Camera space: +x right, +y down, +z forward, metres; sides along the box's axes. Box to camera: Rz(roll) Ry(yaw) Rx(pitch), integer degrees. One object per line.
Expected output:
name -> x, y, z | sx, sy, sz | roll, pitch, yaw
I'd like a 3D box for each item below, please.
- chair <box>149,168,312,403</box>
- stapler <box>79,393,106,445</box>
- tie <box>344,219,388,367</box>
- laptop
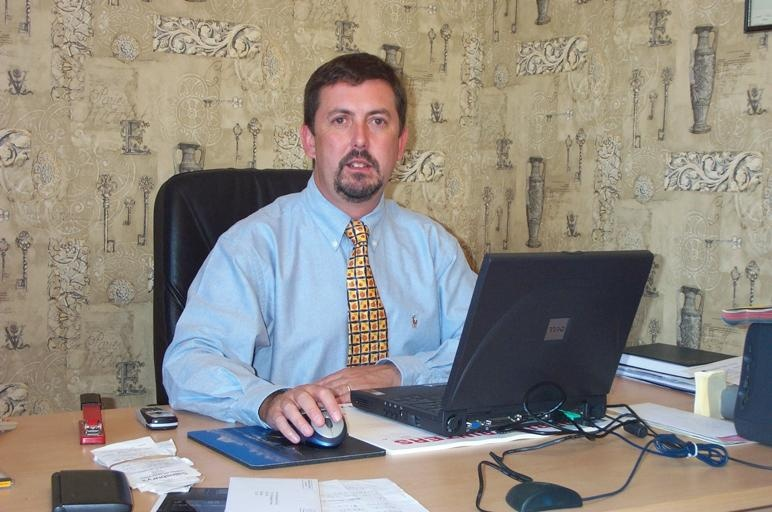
chair -> -0.549, 0.069, 2.588 | 0.660, 0.886, 0.689 | 1, -3, -12
stapler -> -0.670, 0.381, 1.652 | 0.050, 0.070, 0.155 | 1, -6, -18
tie -> -0.061, 0.110, 2.121 | 0.128, 0.378, 0.032 | 3, -13, -17
laptop -> 0.300, 0.171, 1.785 | 0.504, 0.421, 0.494 | 0, 3, -32
